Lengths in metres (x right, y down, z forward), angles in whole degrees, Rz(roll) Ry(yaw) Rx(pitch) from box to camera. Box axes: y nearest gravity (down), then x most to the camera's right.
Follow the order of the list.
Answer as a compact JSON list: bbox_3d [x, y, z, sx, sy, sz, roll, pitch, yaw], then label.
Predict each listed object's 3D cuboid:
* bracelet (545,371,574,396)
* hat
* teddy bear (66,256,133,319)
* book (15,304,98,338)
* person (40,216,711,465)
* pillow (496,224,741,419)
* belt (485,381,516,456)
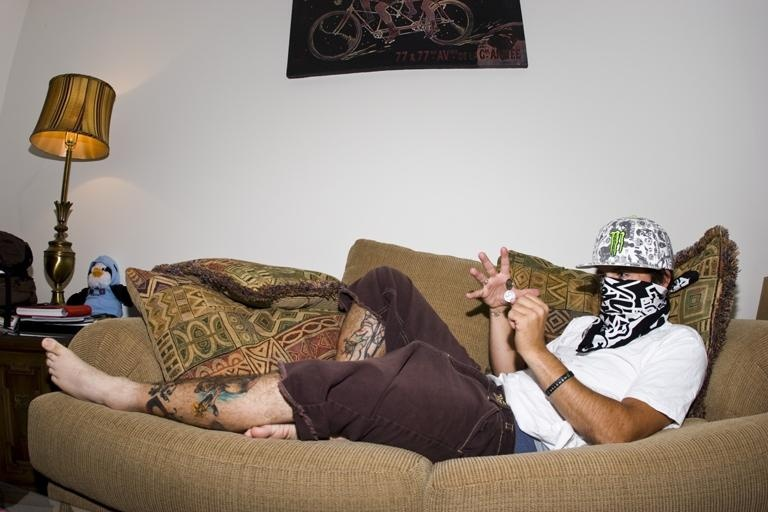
[{"bbox_3d":[0.634,0.451,1.987,0.086,0.023,0.089,-41,-14,30],"label":"bracelet"},{"bbox_3d":[1.015,-0.030,2.268,0.290,0.163,0.220,8,-9,-8],"label":"hat"},{"bbox_3d":[-1.448,0.174,2.839,0.479,0.329,0.205,-3,-8,11],"label":"teddy bear"},{"bbox_3d":[-1.520,0.287,2.490,0.201,0.068,0.212,1,1,23],"label":"book"},{"bbox_3d":[-0.023,0.144,2.425,2.508,1.040,1.068,1,-4,9],"label":"person"},{"bbox_3d":[1.338,0.382,2.666,0.871,0.861,0.269,1,-17,24],"label":"pillow"},{"bbox_3d":[0.413,0.603,2.071,0.085,0.216,0.161,-2,11,6],"label":"belt"}]
